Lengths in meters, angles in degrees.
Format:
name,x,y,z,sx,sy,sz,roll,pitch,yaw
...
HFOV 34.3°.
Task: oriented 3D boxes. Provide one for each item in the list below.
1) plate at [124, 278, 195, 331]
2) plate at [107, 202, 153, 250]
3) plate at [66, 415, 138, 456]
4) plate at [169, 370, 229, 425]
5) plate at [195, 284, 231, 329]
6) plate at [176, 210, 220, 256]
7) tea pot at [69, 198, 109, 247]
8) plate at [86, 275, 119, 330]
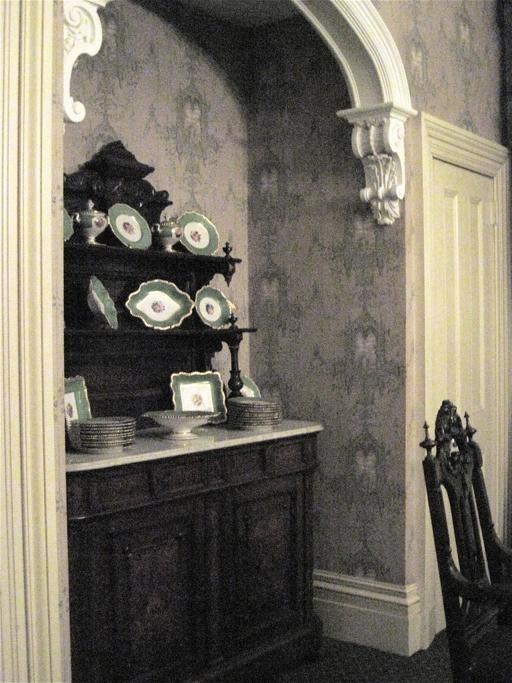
name,x,y,z,sx,sy,sz,roll,pitch,yaw
plate,-0.356,-0.134,3.062,0.044,0.174,0.255,-12,-4,37
plate,-0.453,-0.405,2.943,0.027,0.153,0.156,-17,-2,35
plate,-0.458,0.280,2.471,0.193,0.096,0.130,-5,-1,-11
plate,-0.225,0.207,3.145,0.234,0.231,0.035,3,-37,9
plate,-0.177,-0.138,3.299,0.038,0.162,0.160,-16,25,33
plate,-0.230,-0.421,3.260,0.041,0.175,0.179,-22,-6,36
tea pot,-0.556,-0.401,2.775,0.122,0.145,0.141,13,15,37
plate,-0.517,-0.130,2.801,0.055,0.166,0.202,-6,-1,5
